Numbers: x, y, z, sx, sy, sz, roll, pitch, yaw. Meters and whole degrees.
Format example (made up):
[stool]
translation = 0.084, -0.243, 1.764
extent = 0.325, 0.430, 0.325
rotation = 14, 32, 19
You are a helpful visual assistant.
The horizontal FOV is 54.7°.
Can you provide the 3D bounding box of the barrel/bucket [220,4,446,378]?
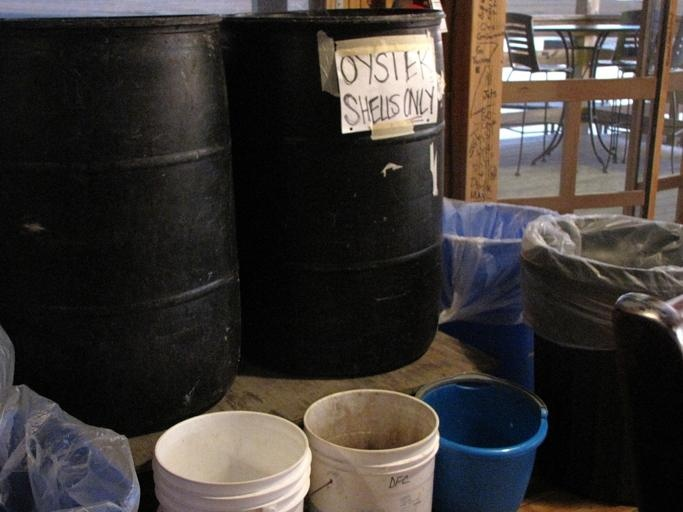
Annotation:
[barrel/bucket]
translation = -0.008, -0.185, 1.720
extent = 0.543, 0.866, 0.542
rotation = -2, 16, 0
